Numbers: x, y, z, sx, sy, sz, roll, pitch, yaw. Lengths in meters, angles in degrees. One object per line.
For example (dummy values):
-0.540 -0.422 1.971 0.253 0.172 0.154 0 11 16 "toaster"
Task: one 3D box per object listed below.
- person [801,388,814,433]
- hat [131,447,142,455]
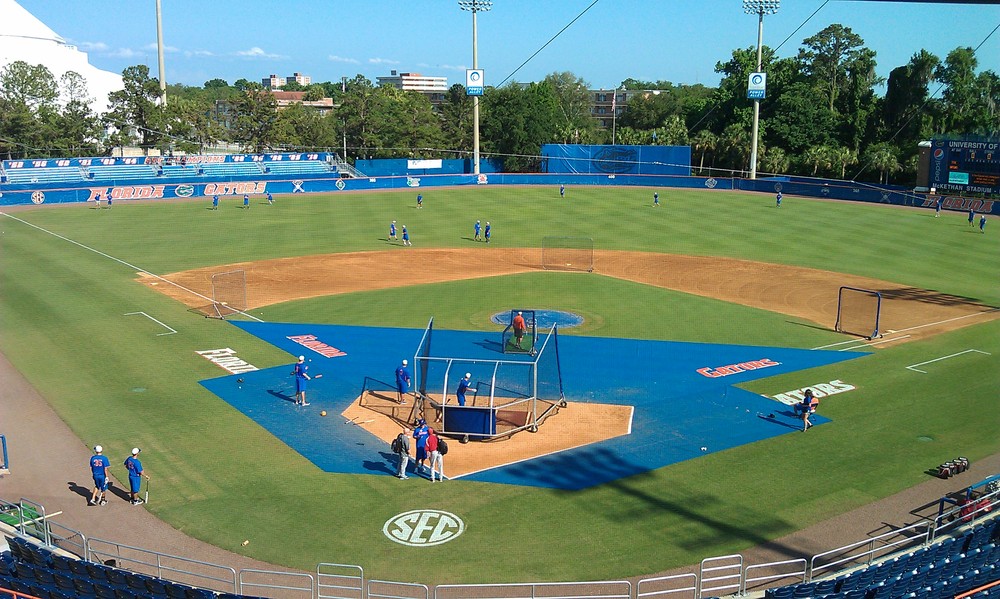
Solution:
20.705 7.314 81.312 0.701 2.615 1.308 5 11 26 "person"
-22.302 9.486 76.152 0.626 0.209 0.705 14 -30 -22 "hat"
